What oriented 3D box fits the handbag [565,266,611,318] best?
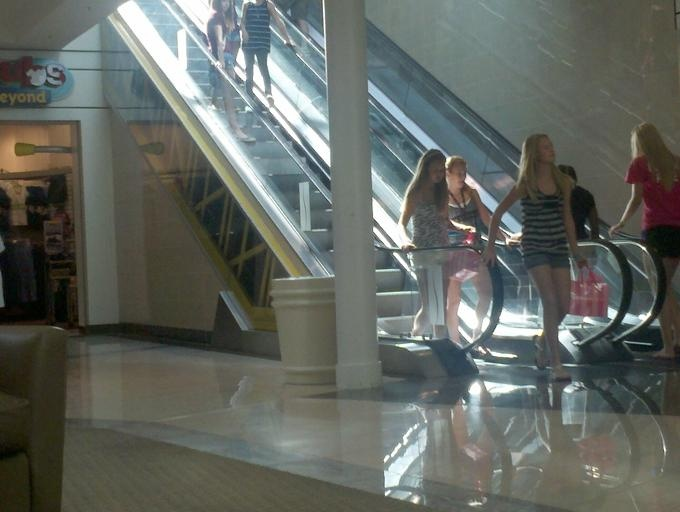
[{"bbox_3d":[1.974,0.301,5.883,0.284,0.458,0.153,3,-21,17],"label":"handbag"}]

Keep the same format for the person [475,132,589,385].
[{"bbox_3d":[1.547,-0.013,5.777,0.710,1.866,0.481,-2,2,10],"label":"person"}]

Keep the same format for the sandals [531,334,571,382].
[{"bbox_3d":[1.648,0.824,5.883,0.128,0.476,0.183,-25,-14,25],"label":"sandals"}]

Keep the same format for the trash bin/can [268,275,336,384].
[{"bbox_3d":[-0.281,0.616,6.361,0.655,0.846,0.653,-3,0,-44],"label":"trash bin/can"}]

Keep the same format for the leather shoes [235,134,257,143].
[{"bbox_3d":[-1.024,-1.280,8.071,0.243,0.072,0.092,8,16,31],"label":"leather shoes"}]
